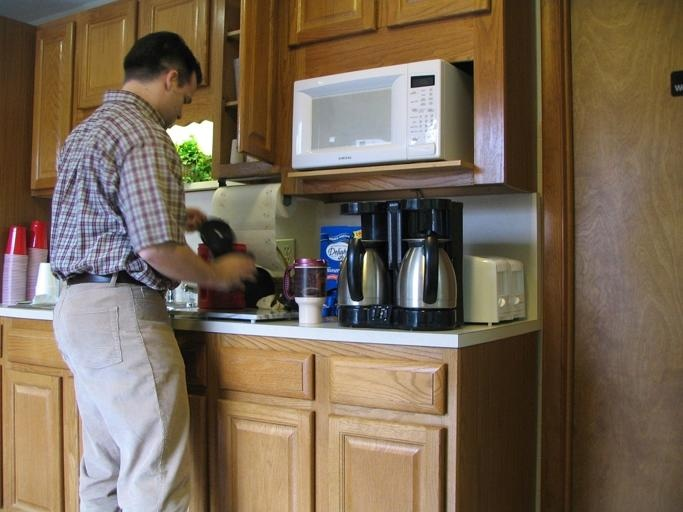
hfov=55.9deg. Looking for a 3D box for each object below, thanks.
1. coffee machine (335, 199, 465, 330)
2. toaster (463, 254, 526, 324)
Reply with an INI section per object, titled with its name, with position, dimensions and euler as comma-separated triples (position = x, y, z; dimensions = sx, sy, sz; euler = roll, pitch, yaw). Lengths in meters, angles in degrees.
[coffee machine]
position = 0.194, 0.011, 2.375
dimensions = 0.506, 0.518, 0.408
euler = -3, -5, 35
[toaster]
position = 0.574, 0.128, 2.429
dimensions = 0.158, 0.246, 0.265
euler = -1, -1, 37
